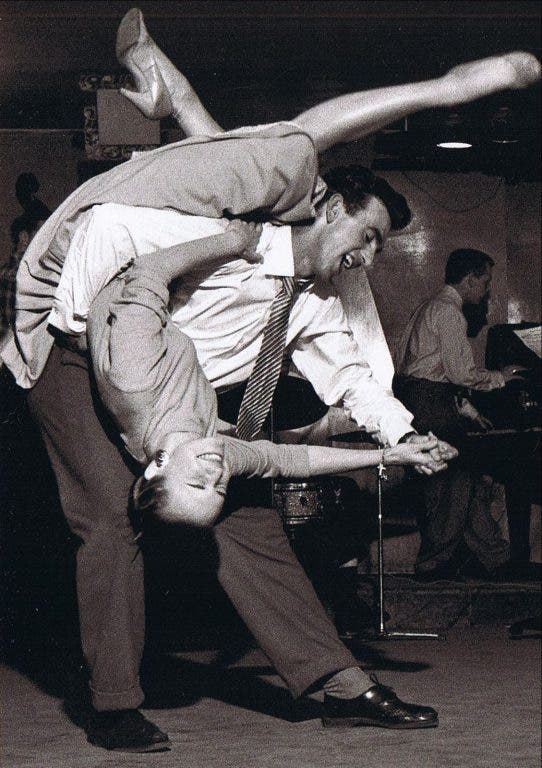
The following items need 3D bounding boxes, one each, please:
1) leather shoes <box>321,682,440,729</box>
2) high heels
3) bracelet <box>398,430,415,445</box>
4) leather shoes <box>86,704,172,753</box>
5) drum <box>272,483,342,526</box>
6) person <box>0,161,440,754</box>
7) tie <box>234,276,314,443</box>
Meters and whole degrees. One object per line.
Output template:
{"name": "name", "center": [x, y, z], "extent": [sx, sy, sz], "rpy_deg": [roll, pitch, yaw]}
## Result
{"name": "leather shoes", "center": [0.276, 0.875, 3.530], "extent": [0.325, 0.145, 0.121], "rpy_deg": [-1, -26, 1]}
{"name": "high heels", "center": [-0.366, -0.903, 3.764], "extent": [0.119, 0.339, 0.120], "rpy_deg": [-9, -2, 9]}
{"name": "bracelet", "center": [0.377, 0.147, 3.688], "extent": [0.039, 0.015, 0.029], "rpy_deg": [-40, -5, 32]}
{"name": "leather shoes", "center": [-0.371, 0.900, 3.463], "extent": [0.203, 0.091, 0.101], "rpy_deg": [-2, -16, 18]}
{"name": "drum", "center": [0.112, 0.384, 4.180], "extent": [0.150, 0.107, 0.151], "rpy_deg": [0, -6, 0]}
{"name": "person", "center": [-0.083, 0.156, 3.600], "extent": [0.992, 1.466, 0.837], "rpy_deg": [-6, 15, -31]}
{"name": "tie", "center": [-0.005, -0.051, 3.776], "extent": [0.108, 0.625, 0.067], "rpy_deg": [20, -12, -13]}
